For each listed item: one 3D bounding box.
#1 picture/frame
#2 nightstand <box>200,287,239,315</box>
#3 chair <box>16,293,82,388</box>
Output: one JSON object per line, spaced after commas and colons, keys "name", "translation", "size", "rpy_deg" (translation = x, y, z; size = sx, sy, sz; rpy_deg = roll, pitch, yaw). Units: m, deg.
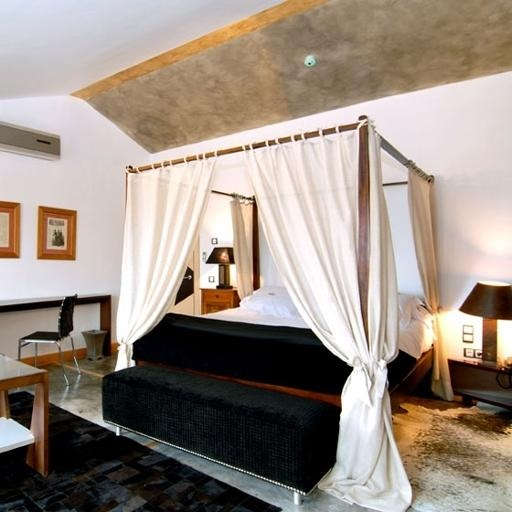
{"name": "picture/frame", "translation": [-2.535, -0.292, 4.921], "size": [0.038, 0.515, 0.749], "rpy_deg": [-2, -3, 34]}
{"name": "nightstand", "translation": [-0.462, 0.469, 5.445], "size": [0.502, 0.475, 0.306], "rpy_deg": [-2, -3, 33]}
{"name": "chair", "translation": [-2.181, 0.843, 4.559], "size": [0.589, 0.879, 0.992], "rpy_deg": [0, 2, -27]}
